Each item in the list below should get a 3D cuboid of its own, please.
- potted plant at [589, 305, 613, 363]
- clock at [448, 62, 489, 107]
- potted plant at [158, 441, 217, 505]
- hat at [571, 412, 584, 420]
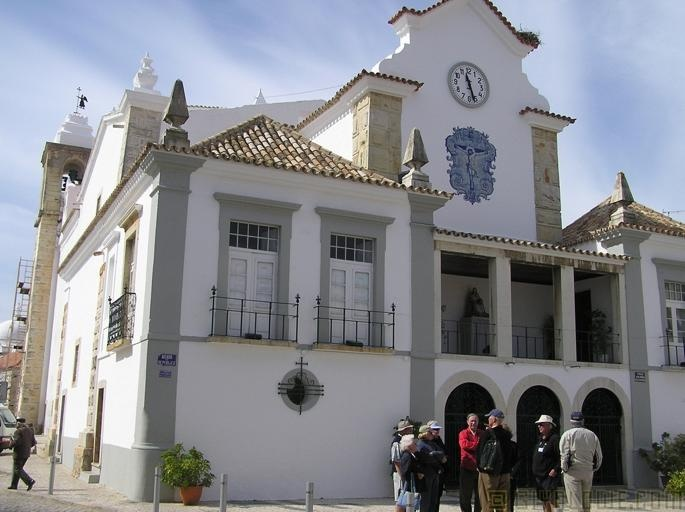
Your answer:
[{"bbox_3d":[8.710,2.630,23.359,0.693,1.824,0.876,-3,-14,20],"label":"potted plant"},{"bbox_3d":[4.541,-6.160,25.428,1.601,1.719,0.217,5,-22,-33],"label":"clock"},{"bbox_3d":[-3.801,5.223,16.815,1.259,1.406,0.775,5,-13,-14],"label":"potted plant"},{"bbox_3d":[4.883,3.283,14.446,0.250,0.180,0.351,3,-2,19],"label":"hat"}]
